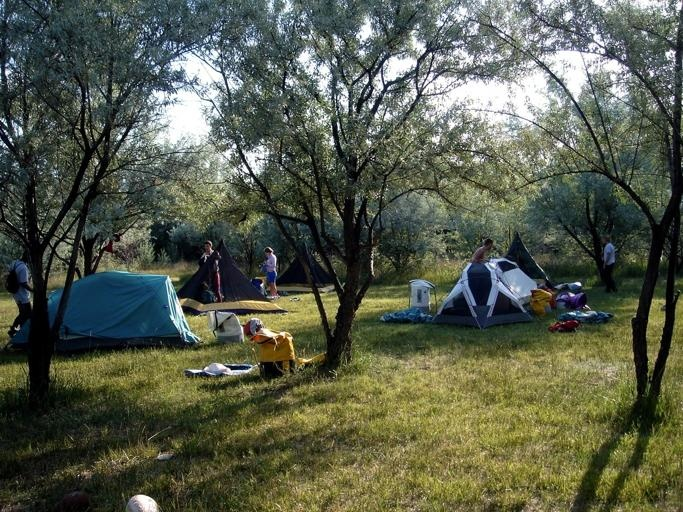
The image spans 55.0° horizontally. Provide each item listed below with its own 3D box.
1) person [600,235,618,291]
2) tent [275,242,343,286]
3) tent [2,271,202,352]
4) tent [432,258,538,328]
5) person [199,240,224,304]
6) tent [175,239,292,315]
[{"bbox_3d":[7.411,0.245,18.160,0.344,1.608,1.151,2,7,23],"label":"person"},{"bbox_3d":[-1.036,0.279,21.365,1.506,1.203,1.515,-2,-3,-4],"label":"tent"},{"bbox_3d":[-4.526,1.154,13.336,2.263,1.089,1.994,0,-2,-20],"label":"tent"},{"bbox_3d":[3.832,0.742,15.756,1.952,1.312,3.681,4,9,36],"label":"tent"},{"bbox_3d":[-3.582,0.414,18.065,0.589,1.580,1.226,-2,7,-13],"label":"person"},{"bbox_3d":[-3.215,0.860,17.835,1.863,1.557,2.153,1,-8,-16],"label":"tent"}]
